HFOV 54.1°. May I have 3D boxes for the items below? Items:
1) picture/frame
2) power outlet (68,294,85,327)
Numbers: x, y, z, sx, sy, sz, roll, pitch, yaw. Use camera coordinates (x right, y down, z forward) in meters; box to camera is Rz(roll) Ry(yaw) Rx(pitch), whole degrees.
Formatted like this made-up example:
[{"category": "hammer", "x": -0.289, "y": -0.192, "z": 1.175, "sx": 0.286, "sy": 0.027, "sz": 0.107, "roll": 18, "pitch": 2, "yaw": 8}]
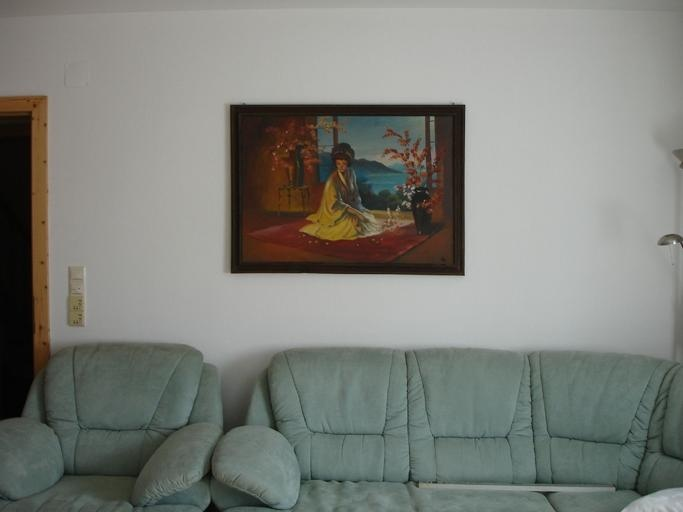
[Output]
[{"category": "picture/frame", "x": 0.110, "y": -0.467, "z": 4.496, "sx": 1.056, "sy": 0.853, "sz": 0.049, "roll": 0, "pitch": 2, "yaw": 2}, {"category": "power outlet", "x": -1.815, "y": 0.374, "z": 4.583, "sx": 0.115, "sy": 0.215, "sz": 0.032, "roll": 2, "pitch": 5, "yaw": 10}]
